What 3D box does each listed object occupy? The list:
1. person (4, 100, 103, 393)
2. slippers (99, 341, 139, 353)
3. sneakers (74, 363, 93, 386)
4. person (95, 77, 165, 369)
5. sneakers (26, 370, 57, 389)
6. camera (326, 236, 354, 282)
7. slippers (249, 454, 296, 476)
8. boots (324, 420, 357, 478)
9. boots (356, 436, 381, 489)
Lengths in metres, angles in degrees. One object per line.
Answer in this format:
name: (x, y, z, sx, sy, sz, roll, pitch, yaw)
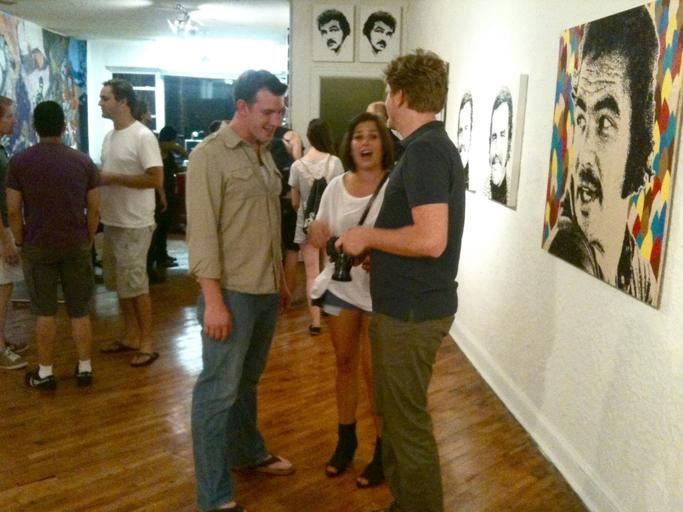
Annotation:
person: (-1.972, -0.066, 3.783, 0.601, 1.967, 0.388, -6, 16, -24)
slippers: (-1.836, 0.760, 4.499, 0.263, 0.093, 0.108, 7, 1, -21)
sneakers: (-1.857, 0.863, 3.909, 0.077, 0.088, 0.201, -1, 19, -15)
person: (-1.661, -0.255, 4.208, 0.493, 2.163, 0.494, 6, 16, 18)
sneakers: (-2.127, 0.894, 3.876, 0.230, 0.107, 0.102, 9, 13, 23)
camera: (0.017, 0.011, 2.548, 0.109, 0.195, 0.138, -5, 14, -43)
slippers: (-0.374, 1.164, 2.971, 0.234, 0.101, 0.106, 0, 5, 2)
boots: (0.021, 1.068, 3.032, 0.117, 0.249, 0.335, 2, 13, 24)
boots: (0.173, 1.133, 2.949, 0.114, 0.250, 0.351, 10, -16, 17)
